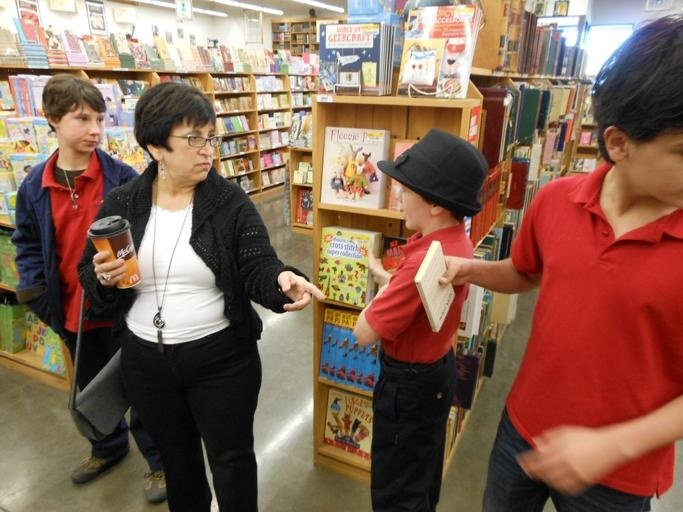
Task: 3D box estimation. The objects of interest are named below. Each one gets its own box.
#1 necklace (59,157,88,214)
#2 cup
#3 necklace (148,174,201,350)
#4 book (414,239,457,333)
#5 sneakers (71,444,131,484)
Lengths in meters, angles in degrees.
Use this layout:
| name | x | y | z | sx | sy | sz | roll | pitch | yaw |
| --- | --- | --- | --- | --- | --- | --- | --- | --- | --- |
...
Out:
| name | x | y | z | sx | sy | sz | roll | pitch | yaw |
| --- | --- | --- | --- | --- | --- | --- | --- | --- | --- |
| necklace | -1.579 | -0.415 | 2.621 | 0.171 | 0.238 | 0.085 | -3 | -3 | -4 |
| cup | -0.949 | 0.004 | 1.888 | 0.227 | 0.261 | 0.230 | -13 | 12 | 3 |
| necklace | -0.768 | 0.081 | 1.993 | 0.184 | 0.597 | 0.285 | 1 | 18 | 3 |
| book | 0.361 | 0.107 | 1.750 | 0.041 | 0.301 | 0.268 | 4 | 51 | 31 |
| sneakers | -1.585 | 1.378 | 2.953 | 0.120 | 0.122 | 0.334 | 20 | 24 | 26 |
